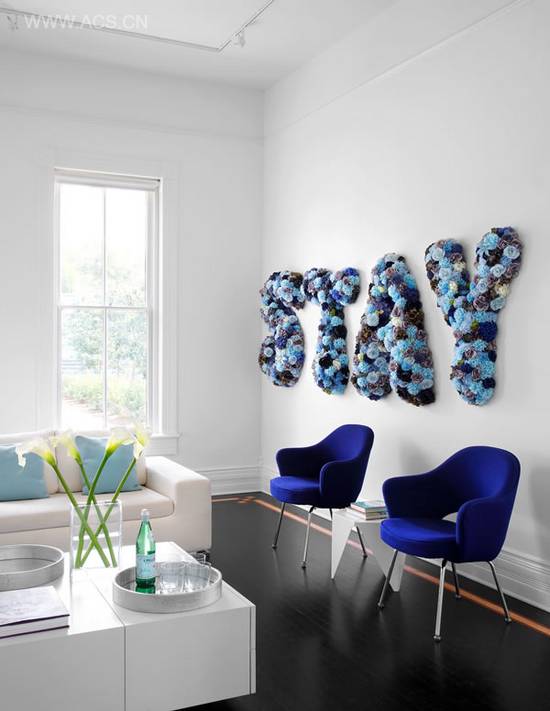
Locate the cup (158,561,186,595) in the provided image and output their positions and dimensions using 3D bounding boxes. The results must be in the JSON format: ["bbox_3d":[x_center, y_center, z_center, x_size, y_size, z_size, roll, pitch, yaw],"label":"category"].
[{"bbox_3d":[-0.356,0.779,2.137,0.109,0.096,0.104,-1,-9,0],"label":"cup"}]

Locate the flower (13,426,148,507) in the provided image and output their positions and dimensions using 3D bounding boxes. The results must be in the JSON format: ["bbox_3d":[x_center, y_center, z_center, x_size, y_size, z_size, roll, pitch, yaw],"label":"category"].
[{"bbox_3d":[-1.113,0.648,3.407,0.645,0.409,0.422,1,-15,-18],"label":"flower"}]

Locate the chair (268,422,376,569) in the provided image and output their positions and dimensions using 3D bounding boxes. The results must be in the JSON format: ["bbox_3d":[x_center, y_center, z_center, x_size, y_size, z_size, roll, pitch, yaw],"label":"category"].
[{"bbox_3d":[0.319,0.914,4.138,0.697,0.803,0.681,0,-1,-29],"label":"chair"}]

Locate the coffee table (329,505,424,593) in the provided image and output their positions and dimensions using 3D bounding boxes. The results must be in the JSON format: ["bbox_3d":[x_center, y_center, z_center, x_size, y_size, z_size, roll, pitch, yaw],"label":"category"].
[{"bbox_3d":[0.581,1.103,3.558,0.495,0.431,0.452,1,-9,-2],"label":"coffee table"}]

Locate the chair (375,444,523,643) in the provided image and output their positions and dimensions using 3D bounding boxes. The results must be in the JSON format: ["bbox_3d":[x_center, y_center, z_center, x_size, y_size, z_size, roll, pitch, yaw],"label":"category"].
[{"bbox_3d":[0.866,0.892,3.022,0.656,0.782,0.649,0,-2,-26],"label":"chair"}]
